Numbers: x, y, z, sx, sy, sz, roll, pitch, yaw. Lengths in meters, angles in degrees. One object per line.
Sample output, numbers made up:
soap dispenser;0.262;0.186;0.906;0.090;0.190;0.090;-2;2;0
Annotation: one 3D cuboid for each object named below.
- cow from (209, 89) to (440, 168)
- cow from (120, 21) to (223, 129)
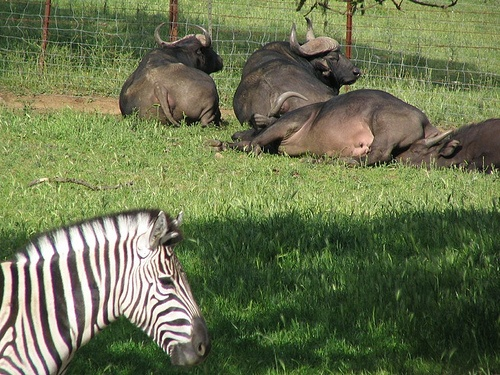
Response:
cow;1.275;-0.876;13.041;2.573;1.005;1.534;6;1;13
cow;-1.341;-2.107;15.757;1.771;1.740;3.264;7;7;-3
